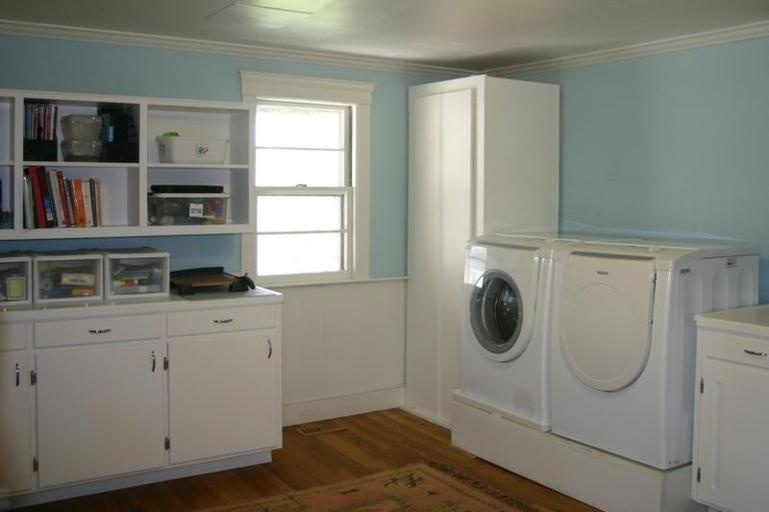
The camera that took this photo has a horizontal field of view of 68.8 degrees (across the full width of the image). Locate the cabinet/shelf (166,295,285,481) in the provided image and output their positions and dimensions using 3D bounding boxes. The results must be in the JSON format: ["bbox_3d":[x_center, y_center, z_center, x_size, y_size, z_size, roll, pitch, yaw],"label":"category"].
[{"bbox_3d":[-1.195,0.863,4.159,1.039,1.398,0.937,1,-3,-33],"label":"cabinet/shelf"}]

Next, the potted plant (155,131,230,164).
[{"bbox_3d":[-1.403,-0.744,4.069,0.401,0.162,0.267,-1,3,-28],"label":"potted plant"}]

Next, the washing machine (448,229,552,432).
[{"bbox_3d":[1.099,0.546,4.249,0.884,1.305,1.001,1,1,-23],"label":"washing machine"}]

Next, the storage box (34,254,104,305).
[{"bbox_3d":[-2.080,0.140,3.794,0.488,0.344,0.271,-1,0,-4],"label":"storage box"}]

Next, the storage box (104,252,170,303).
[{"bbox_3d":[-1.743,0.141,4.025,0.548,0.305,0.532,-2,0,13],"label":"storage box"}]

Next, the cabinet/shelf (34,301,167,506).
[{"bbox_3d":[-1.938,0.953,3.891,0.910,1.090,0.823,-6,-11,-8],"label":"cabinet/shelf"}]

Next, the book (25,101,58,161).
[{"bbox_3d":[-2.274,-0.815,3.671,0.216,0.388,0.131,-6,11,-41],"label":"book"}]
